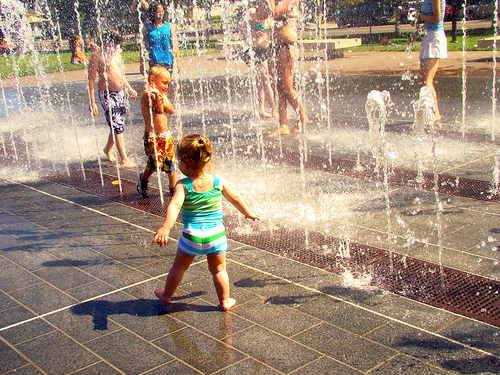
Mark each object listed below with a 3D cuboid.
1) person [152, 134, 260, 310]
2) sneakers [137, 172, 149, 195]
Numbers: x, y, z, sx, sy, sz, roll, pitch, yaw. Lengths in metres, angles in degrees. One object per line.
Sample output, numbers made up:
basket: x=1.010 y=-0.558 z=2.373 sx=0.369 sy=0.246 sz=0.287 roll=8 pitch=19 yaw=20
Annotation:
person: x=-0.368 y=0.296 z=3.981 sx=0.788 sy=1.386 sz=0.416 roll=-8 pitch=15 yaw=-15
sneakers: x=-1.326 y=-0.041 z=6.314 sx=0.112 sy=0.280 sz=0.126 roll=-8 pitch=3 yaw=-37
